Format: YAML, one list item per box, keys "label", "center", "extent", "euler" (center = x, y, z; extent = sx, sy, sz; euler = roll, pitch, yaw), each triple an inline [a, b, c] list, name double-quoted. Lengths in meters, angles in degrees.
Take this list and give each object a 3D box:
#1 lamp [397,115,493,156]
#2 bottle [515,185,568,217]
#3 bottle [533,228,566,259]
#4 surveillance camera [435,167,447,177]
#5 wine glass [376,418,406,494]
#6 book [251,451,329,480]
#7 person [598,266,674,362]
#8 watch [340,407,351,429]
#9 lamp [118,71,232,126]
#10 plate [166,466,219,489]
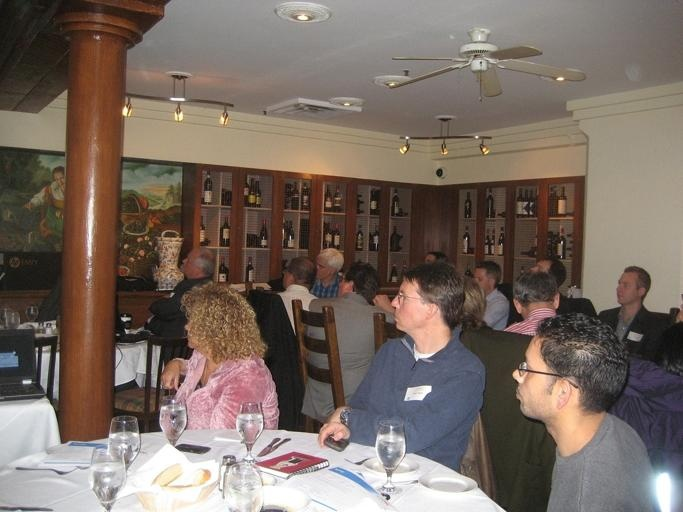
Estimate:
- label: "lamp"
  center: [1.312, -1.550, 7.243]
  extent: [1.285, 0.462, 1.270]
  euler: [1, 10, 5]
- label: "bottle"
  center: [2.540, -0.696, 7.128]
  extent: [0.442, 0.283, 0.105]
  euler: [-1, -5, 44]
- label: "bottle"
  center: [2.588, -0.156, 6.988]
  extent: [0.365, 0.386, 0.072]
  euler: [-1, -2, 38]
- label: "surveillance camera"
  center: [1.467, -1.238, 8.344]
  extent: [0.071, 0.124, 0.114]
  euler: [12, 22, -49]
- label: "wine glass"
  center: [0.168, 0.686, 1.982]
  extent: [0.090, 0.249, 0.205]
  euler: [0, -1, 3]
- label: "book"
  center: [-0.187, 0.750, 2.019]
  extent: [0.175, 0.024, 0.179]
  euler: [5, 7, 44]
- label: "person"
  center: [2.278, 0.418, 4.319]
  extent: [0.363, 1.002, 0.467]
  euler: [15, -17, -23]
- label: "watch"
  center: [0.019, 0.711, 2.458]
  extent: [0.043, 0.054, 0.047]
  euler: [1, 15, 5]
- label: "lamp"
  center: [-1.759, -1.657, 5.901]
  extent: [1.043, 0.430, 1.035]
  euler: [4, -2, 10]
- label: "plate"
  center: [-0.475, 0.705, 1.808]
  extent: [0.144, 0.046, 0.079]
  euler: [0, -1, 0]
